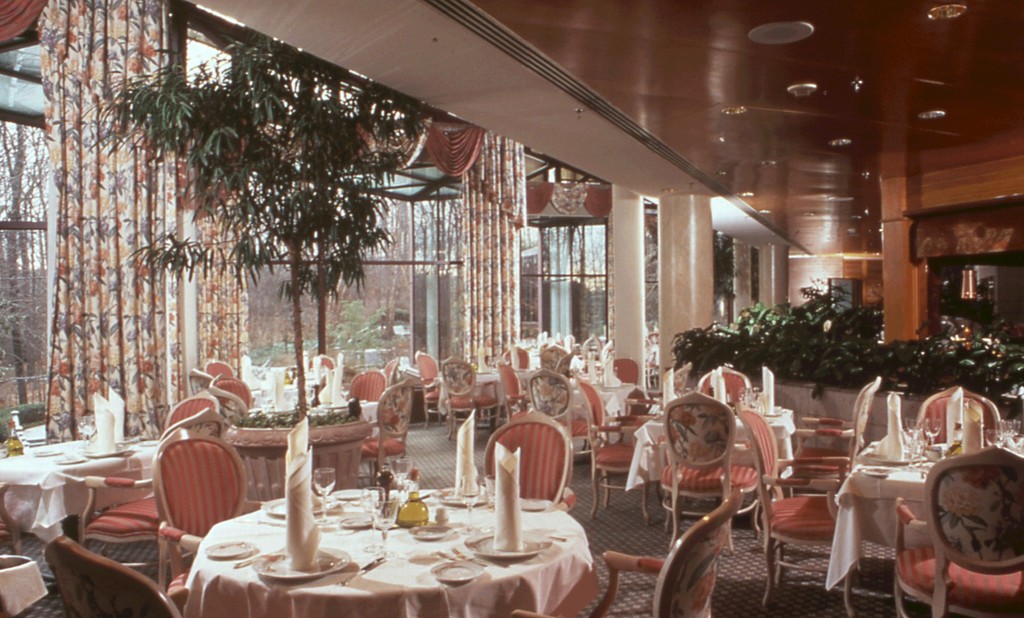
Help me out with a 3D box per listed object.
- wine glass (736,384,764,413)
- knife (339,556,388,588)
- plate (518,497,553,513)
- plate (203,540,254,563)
[{"bbox_3d":[2.565,0.972,8.709,0.275,0.279,0.270,-2,2,-6],"label":"wine glass"},{"bbox_3d":[-0.980,1.729,5.459,0.088,0.060,0.596,6,11,20],"label":"knife"},{"bbox_3d":[0.189,1.483,6.112,0.244,0.067,0.176,-1,-2,0],"label":"plate"},{"bbox_3d":[-1.945,1.680,5.603,0.360,0.091,0.173,-1,-2,1],"label":"plate"}]
